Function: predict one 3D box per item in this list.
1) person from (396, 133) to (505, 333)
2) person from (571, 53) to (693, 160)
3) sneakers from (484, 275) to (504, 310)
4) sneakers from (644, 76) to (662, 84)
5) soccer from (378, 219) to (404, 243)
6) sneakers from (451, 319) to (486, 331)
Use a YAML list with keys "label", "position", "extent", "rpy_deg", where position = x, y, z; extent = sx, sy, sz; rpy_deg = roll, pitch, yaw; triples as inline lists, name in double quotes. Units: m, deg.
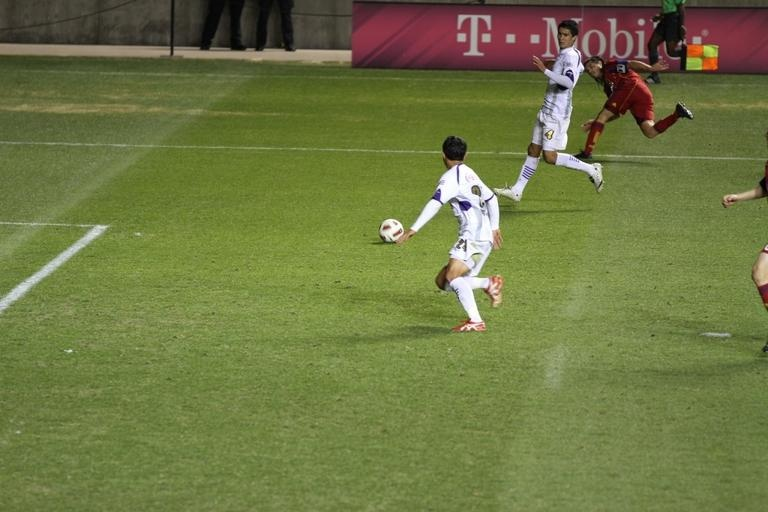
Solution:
- label: "person"
  position: [0.728, -0.203, 10.613]
  extent: [0.738, 1.768, 0.885]
  rpy_deg: [7, 12, 26]
- label: "person"
  position: [3.793, -2.236, 17.134]
  extent: [1.914, 1.431, 0.934]
  rpy_deg: [3, -1, 16]
- label: "sneakers"
  position: [1.040, 0.337, 10.744]
  extent: [0.174, 0.316, 0.135]
  rpy_deg: [-5, 28, 6]
- label: "sneakers"
  position: [6.739, -4.374, 28.528]
  extent: [0.461, 0.166, 0.146]
  rpy_deg: [6, 17, 17]
- label: "soccer"
  position: [0.084, -0.207, 10.478]
  extent: [0.198, 0.222, 0.344]
  rpy_deg: [1, 10, -3]
- label: "sneakers"
  position: [0.816, 0.636, 10.608]
  extent: [0.274, 0.093, 0.114]
  rpy_deg: [1, 3, 1]
